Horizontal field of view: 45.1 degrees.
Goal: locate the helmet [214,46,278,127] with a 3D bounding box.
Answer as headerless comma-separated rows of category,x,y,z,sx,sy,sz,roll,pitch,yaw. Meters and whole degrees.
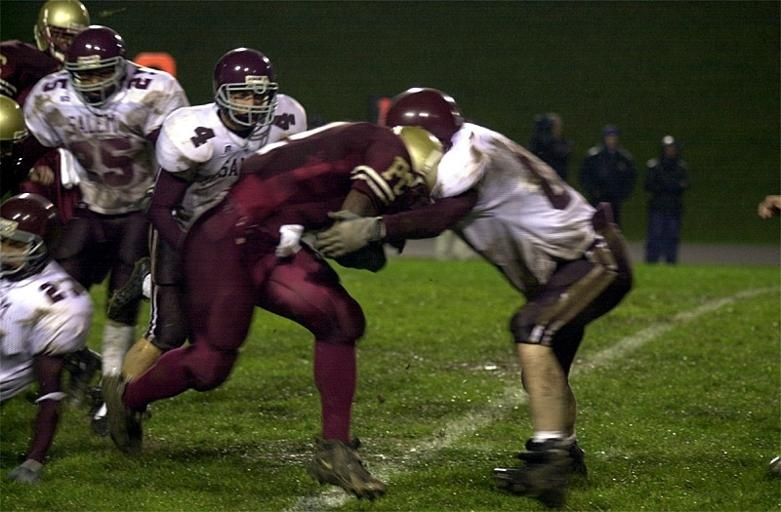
helmet,-0.704,-0.806,4.442,0.346,0.353,0.391,-10,30,-25

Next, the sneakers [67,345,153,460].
sneakers,-1.388,0.730,4.665,0.209,0.600,0.263,-40,-21,-3

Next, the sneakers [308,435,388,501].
sneakers,-0.181,0.927,4.109,0.311,0.237,0.143,9,10,27

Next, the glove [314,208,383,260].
glove,-0.189,-0.107,4.070,0.260,0.134,0.123,-12,-5,-6

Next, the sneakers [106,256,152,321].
sneakers,-1.385,0.159,4.965,0.142,0.378,0.144,45,-10,-22
